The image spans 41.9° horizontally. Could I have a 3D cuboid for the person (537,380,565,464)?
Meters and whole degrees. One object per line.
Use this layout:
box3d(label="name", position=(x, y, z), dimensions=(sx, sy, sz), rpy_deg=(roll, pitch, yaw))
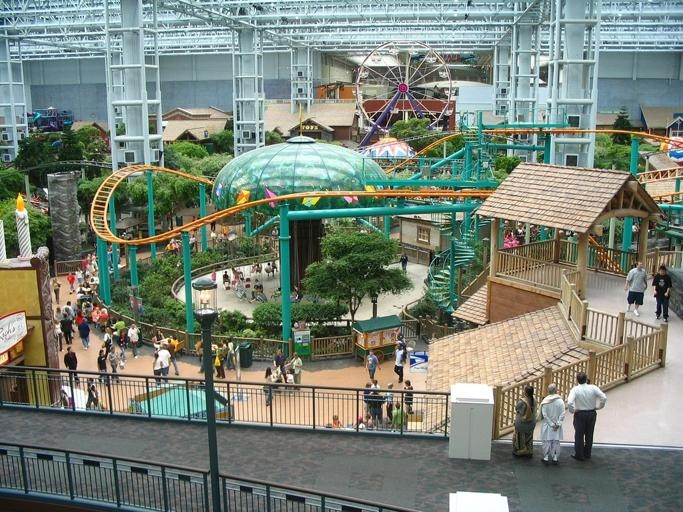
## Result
box3d(label="person", position=(5.751, 4.569, 24.255), dimensions=(0.619, 2.238, 0.468), rpy_deg=(0, 8, 4))

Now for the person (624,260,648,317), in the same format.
box3d(label="person", position=(10.091, 1.043, 30.383), dimensions=(0.593, 1.838, 1.160), rpy_deg=(3, 8, 21))

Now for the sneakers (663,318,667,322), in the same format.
box3d(label="sneakers", position=(10.930, 2.153, 29.889), dimensions=(0.070, 0.122, 0.122), rpy_deg=(-4, 9, -1))

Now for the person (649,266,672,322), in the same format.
box3d(label="person", position=(10.783, 1.248, 29.936), dimensions=(0.488, 1.870, 0.497), rpy_deg=(2, 8, 13))

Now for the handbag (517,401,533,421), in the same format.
box3d(label="handbag", position=(5.012, 4.220, 24.176), dimensions=(0.449, 0.487, 0.279), rpy_deg=(1, 8, 6))

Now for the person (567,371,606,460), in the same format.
box3d(label="person", position=(6.693, 4.377, 24.377), dimensions=(0.961, 2.462, 0.543), rpy_deg=(2, 8, 13))
